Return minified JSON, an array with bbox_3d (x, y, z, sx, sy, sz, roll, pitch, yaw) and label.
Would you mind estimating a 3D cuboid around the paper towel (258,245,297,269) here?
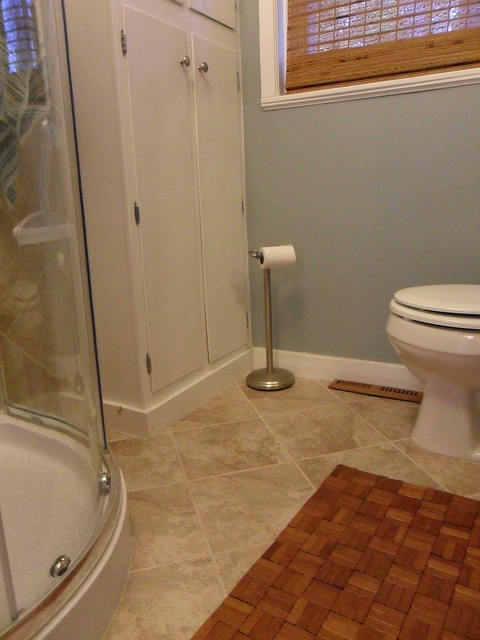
[{"bbox_3d":[0.148,-0.228,1.874,0.115,0.089,0.082,-7,2,-13],"label":"paper towel"}]
